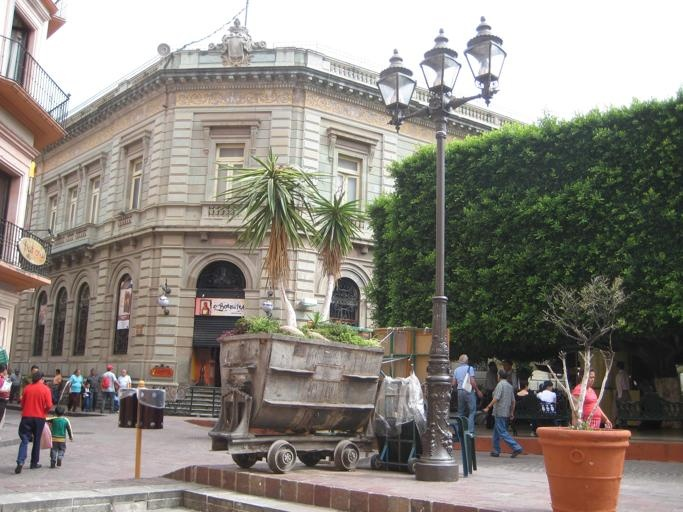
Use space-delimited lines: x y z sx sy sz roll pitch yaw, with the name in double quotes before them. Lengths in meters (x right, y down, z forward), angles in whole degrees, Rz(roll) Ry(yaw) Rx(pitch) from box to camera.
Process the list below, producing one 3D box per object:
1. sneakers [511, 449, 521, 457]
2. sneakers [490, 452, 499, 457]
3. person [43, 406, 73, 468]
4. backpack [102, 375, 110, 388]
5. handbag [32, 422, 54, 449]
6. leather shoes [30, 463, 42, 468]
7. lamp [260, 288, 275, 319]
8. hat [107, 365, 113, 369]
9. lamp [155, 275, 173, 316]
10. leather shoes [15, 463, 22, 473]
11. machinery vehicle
"sneakers" 4.249 4.815 17.060 0.245 0.206 0.501 -3 -16 13
"sneakers" 3.786 4.924 17.348 0.071 0.090 0.197 1 -2 -27
"person" -6.097 3.887 15.010 0.593 1.283 0.615 4 -4 -9
"backpack" -9.437 5.028 27.972 0.486 0.519 0.223 -10 -18 36
"handbag" -6.251 3.794 14.832 0.237 0.526 0.446 7 -16 -23
"leather shoes" -6.409 4.416 14.692 0.204 0.097 0.110 -1 4 -15
"lamp" -2.934 1.848 27.803 0.488 1.283 0.908 3 -14 -8
"hat" -9.567 4.598 28.845 0.164 0.142 0.172 0 1 -11
"lamp" -7.191 1.625 28.439 0.504 1.528 0.532 2 -14 -6
"leather shoes" -6.505 4.285 14.117 0.104 0.274 0.114 19 21 -9
"machinery vehicle" -0.807 2.956 14.383 3.376 2.669 1.984 10 -11 -32
